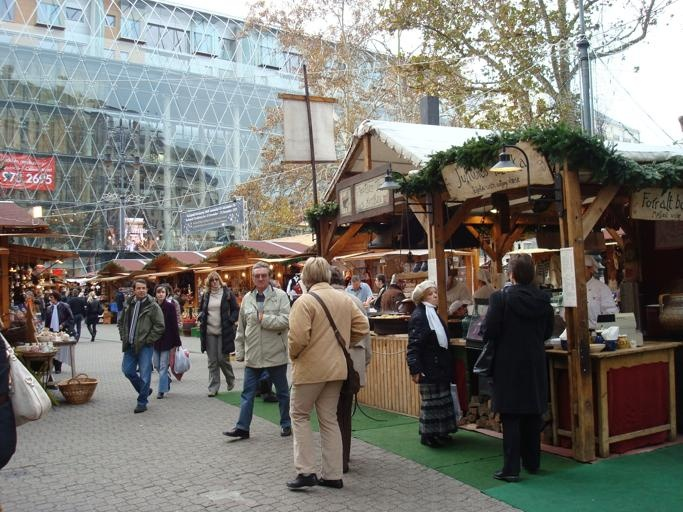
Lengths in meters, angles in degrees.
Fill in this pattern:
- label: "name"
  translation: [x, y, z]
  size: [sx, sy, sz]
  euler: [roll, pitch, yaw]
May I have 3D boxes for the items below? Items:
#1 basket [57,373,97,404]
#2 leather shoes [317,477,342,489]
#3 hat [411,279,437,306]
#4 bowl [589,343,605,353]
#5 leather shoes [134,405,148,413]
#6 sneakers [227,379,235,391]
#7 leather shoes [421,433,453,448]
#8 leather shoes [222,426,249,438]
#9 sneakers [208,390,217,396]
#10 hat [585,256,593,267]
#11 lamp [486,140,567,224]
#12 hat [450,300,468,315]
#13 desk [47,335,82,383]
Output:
- label: "basket"
  translation: [-4.762, 2.409, 11.677]
  size: [0.618, 0.446, 0.610]
  euler: [7, -10, -44]
- label: "leather shoes"
  translation: [-0.116, 2.534, 7.234]
  size: [0.300, 0.140, 0.107]
  euler: [2, -7, 22]
- label: "hat"
  translation: [1.070, 0.474, 8.417]
  size: [0.303, 0.299, 0.273]
  euler: [-2, 1, -2]
- label: "bowl"
  translation: [3.170, 1.122, 7.939]
  size: [0.234, 0.107, 0.089]
  euler: [-3, 1, -41]
- label: "leather shoes"
  translation: [-3.360, 2.566, 10.798]
  size: [0.087, 0.096, 0.232]
  euler: [-3, -13, 6]
- label: "sneakers"
  translation: [-2.124, 2.529, 12.379]
  size: [0.098, 0.120, 0.284]
  euler: [16, -46, 0]
- label: "leather shoes"
  translation: [1.212, 2.460, 8.562]
  size: [0.166, 0.243, 0.507]
  euler: [7, -15, -41]
- label: "leather shoes"
  translation: [-1.488, 2.481, 9.020]
  size: [0.397, 0.191, 0.153]
  euler: [8, -11, -10]
- label: "sneakers"
  translation: [-2.406, 2.564, 12.004]
  size: [0.065, 0.082, 0.188]
  euler: [0, -18, 0]
- label: "hat"
  translation: [3.388, 0.078, 8.802]
  size: [0.075, 0.144, 0.103]
  euler: [-19, -19, 35]
- label: "lamp"
  translation: [2.326, -0.905, 8.093]
  size: [0.730, 1.099, 0.462]
  euler: [-9, -2, 9]
- label: "hat"
  translation: [2.057, 0.887, 11.245]
  size: [0.222, 0.110, 0.300]
  euler: [3, -26, -36]
- label: "desk"
  translation: [-5.838, 2.133, 13.063]
  size: [0.795, 0.606, 0.807]
  euler: [-17, -8, 43]
